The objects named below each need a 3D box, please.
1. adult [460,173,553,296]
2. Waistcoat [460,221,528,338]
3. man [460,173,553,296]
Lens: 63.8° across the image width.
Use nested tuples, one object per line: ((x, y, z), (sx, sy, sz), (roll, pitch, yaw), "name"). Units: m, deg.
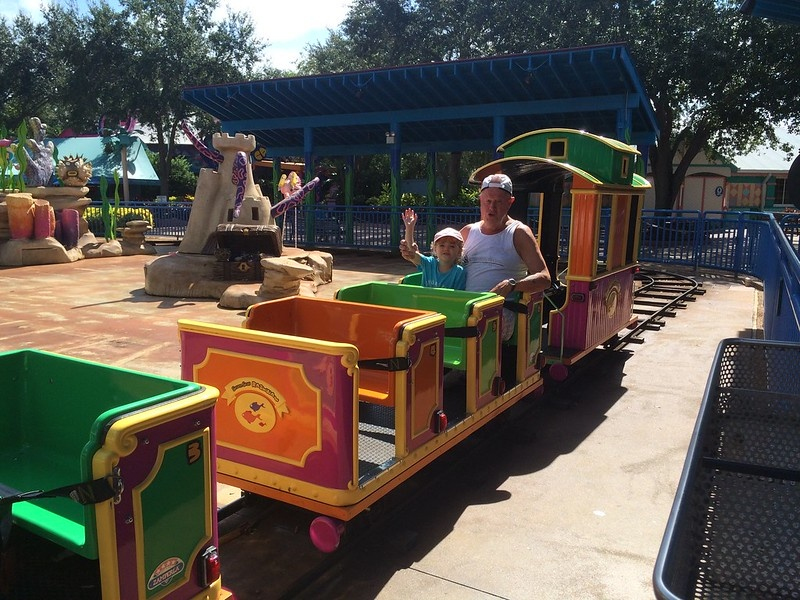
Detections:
((0.815, -0.591, 5.950), (1.017, 1.182, 0.665), (1, 1, 29), "adult")
((0.840, -0.177, 6.042), (0.791, 1.199, 0.605), (0, -13, 27), "Waistcoat")
((0.819, -0.588, 5.965), (1.053, 1.208, 0.701), (1, -1, 32), "man")
